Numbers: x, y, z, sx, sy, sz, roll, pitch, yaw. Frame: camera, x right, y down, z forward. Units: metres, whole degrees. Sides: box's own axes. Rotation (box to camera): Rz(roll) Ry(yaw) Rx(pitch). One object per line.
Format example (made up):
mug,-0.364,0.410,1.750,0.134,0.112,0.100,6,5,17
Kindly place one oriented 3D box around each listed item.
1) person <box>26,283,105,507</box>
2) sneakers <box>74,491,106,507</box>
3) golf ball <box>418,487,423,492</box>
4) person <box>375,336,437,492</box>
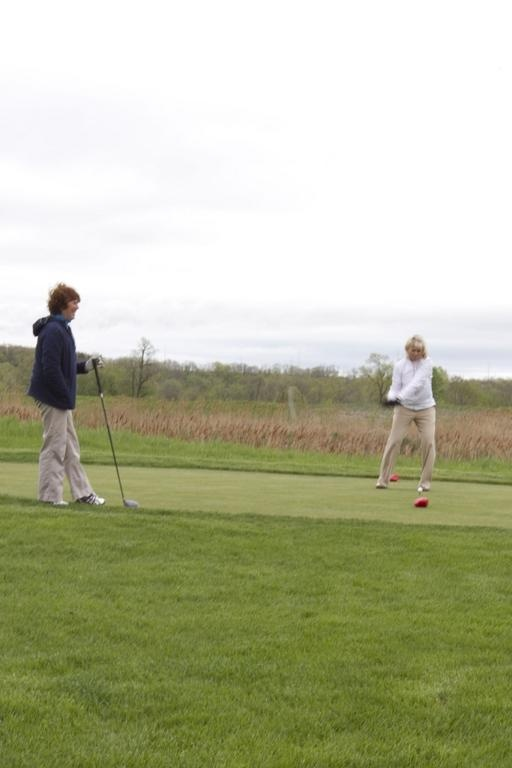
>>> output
person,-1.258,0.090,9.099,0.477,1.537,1.111,1,7,-10
sneakers,-1.087,0.756,9.026,0.201,0.118,0.085,0,0,11
golf ball,1.239,0.803,10.486,0.021,0.039,0.085,2,-9,12
person,1.201,0.267,11.140,0.447,1.277,0.971,2,7,6
